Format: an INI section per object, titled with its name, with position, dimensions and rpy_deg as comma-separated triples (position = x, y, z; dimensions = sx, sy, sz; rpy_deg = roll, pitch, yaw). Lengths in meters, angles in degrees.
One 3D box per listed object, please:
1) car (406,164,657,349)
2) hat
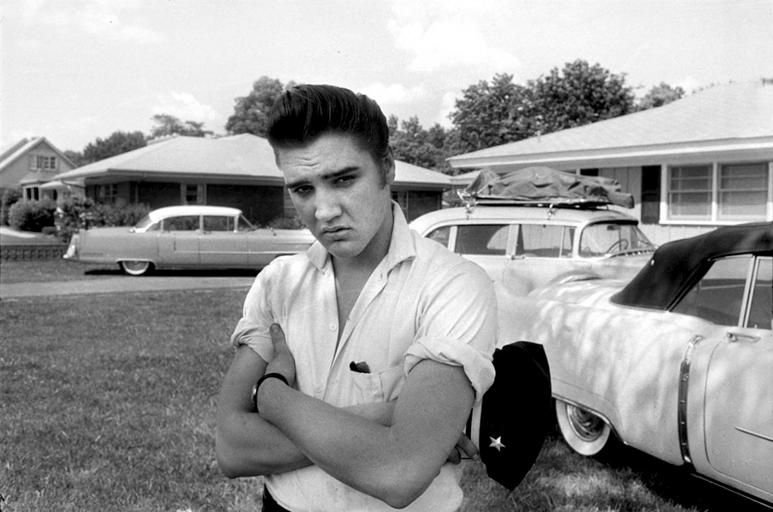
[car]
position = 2.334, -0.094, 9.158
dimensions = 3.471, 1.880, 2.194
rpy_deg = -1, 3, 19
[hat]
position = 0.527, 0.640, 2.360
dimensions = 0.356, 0.582, 0.147
rpy_deg = -8, -13, 30
